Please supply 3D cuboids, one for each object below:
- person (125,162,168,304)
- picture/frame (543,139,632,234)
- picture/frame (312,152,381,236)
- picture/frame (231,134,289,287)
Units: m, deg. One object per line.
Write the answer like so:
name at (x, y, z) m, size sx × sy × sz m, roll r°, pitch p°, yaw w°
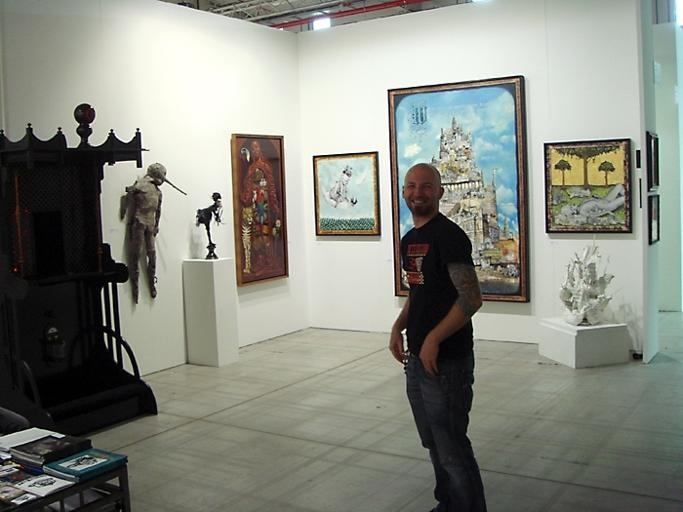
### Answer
person at (-2.616, -0.297, 6.683) m, size 0.282 × 1.865 × 0.586 m, roll 1°, pitch 5°, yaw 39°
picture/frame at (3.541, -1.007, 7.063) m, size 1.275 × 1.641 × 0.070 m, roll 1°, pitch 4°, yaw 28°
picture/frame at (0.141, -1.100, 8.645) m, size 1.378 × 1.627 × 0.079 m, roll 1°, pitch 2°, yaw 25°
picture/frame at (-1.347, -0.787, 8.281) m, size 0.146 × 2.435 × 1.100 m, roll 1°, pitch 5°, yaw 39°
